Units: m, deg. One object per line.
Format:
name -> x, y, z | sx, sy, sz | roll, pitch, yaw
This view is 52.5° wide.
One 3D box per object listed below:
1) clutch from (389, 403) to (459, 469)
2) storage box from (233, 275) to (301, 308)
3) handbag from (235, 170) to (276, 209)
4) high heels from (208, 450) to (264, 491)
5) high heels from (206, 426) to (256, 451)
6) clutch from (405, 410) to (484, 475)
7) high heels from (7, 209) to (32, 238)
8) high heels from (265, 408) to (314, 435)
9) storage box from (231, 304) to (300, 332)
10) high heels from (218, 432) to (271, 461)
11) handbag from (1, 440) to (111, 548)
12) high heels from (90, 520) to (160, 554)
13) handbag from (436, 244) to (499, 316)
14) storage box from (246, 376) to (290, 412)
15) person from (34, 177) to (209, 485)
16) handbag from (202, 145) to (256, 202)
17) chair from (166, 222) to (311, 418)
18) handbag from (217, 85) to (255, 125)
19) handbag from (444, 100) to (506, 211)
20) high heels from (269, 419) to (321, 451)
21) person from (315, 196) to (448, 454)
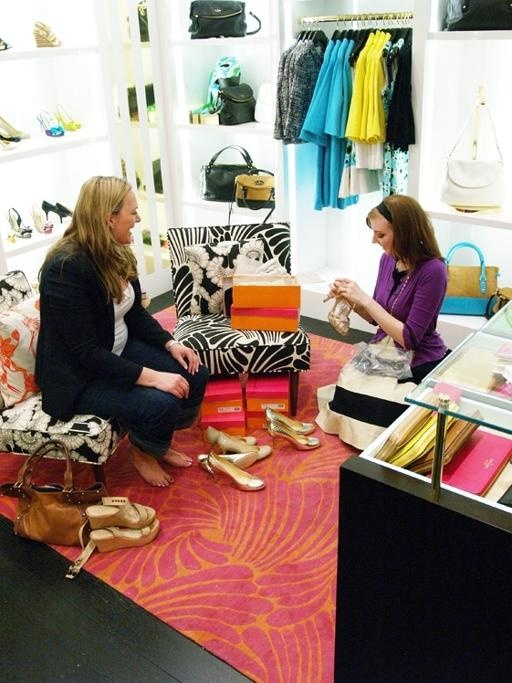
clutch -> 0.312, 0.182, 0.971 | 0.093, 0.042, 0.121 | -9, 23, 47
storage box -> 0.048, -0.232, 2.482 | 0.245, 0.087, 0.173 | 2, 16, 6
handbag -> -0.033, -1.040, 3.637 | 0.197, 0.236, 0.294 | -21, 30, -36
high heels -> -0.125, 0.539, 2.184 | 0.292, 0.110, 0.098 | 18, 28, 13
high heels -> -0.109, 0.440, 2.329 | 0.193, 0.075, 0.109 | 0, 11, -20
clutch -> 0.334, 0.180, 0.943 | 0.105, 0.033, 0.150 | 7, 28, 37
high heels -> -1.509, -0.757, 3.330 | 0.117, 0.174, 0.201 | -14, 26, -24
high heels -> 0.106, 0.377, 2.424 | 0.289, 0.115, 0.092 | 4, 25, -13
storage box -> 0.039, -0.110, 2.537 | 0.322, 0.120, 0.033 | 2, 25, 9
high heels -> -0.052, 0.446, 2.304 | 0.165, 0.068, 0.138 | -2, 11, -11
handbag -> -0.723, 0.561, 1.894 | 0.378, 0.343, 0.163 | 3, 7, -1
high heels -> -0.463, 0.685, 1.819 | 0.202, 0.061, 0.093 | -10, 16, -22
handbag -> 1.227, -0.373, 3.064 | 0.360, 0.432, 0.136 | 4, 26, 28
storage box -> 0.056, 0.252, 2.525 | 0.176, 0.099, 0.169 | 1, 26, 1
person -> -0.541, -0.048, 2.094 | 0.674, 1.126, 0.538 | 11, 23, 6
handbag -> -0.190, -1.232, 3.834 | 0.439, 0.394, 0.194 | 5, 16, 13
chair -> -0.103, -0.101, 2.737 | 0.675, 0.888, 0.701 | -5, 23, -9
handbag -> -0.138, -1.648, 3.641 | 0.143, 0.183, 0.272 | 14, 34, 31
handbag -> 1.192, -1.010, 2.780 | 0.302, 0.586, 0.424 | 8, 26, 23
high heels -> 0.170, 0.428, 2.330 | 0.300, 0.149, 0.097 | 0, 31, -3
person -> 0.560, -0.092, 2.366 | 0.663, 1.059, 0.562 | -15, 23, -26
